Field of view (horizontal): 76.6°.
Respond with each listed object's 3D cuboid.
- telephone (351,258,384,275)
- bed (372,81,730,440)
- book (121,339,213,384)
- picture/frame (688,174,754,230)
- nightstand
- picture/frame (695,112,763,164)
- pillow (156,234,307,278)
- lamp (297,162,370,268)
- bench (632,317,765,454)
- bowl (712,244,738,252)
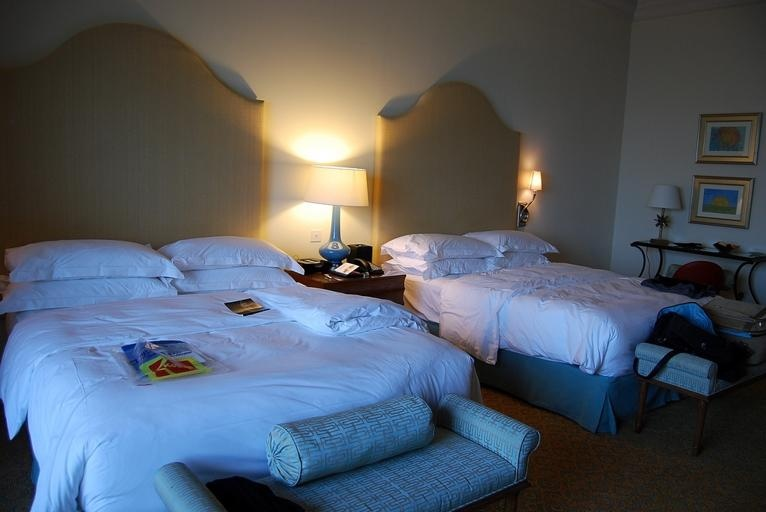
[{"bbox_3d":[-0.131,0.111,4.397,0.228,0.067,0.165,2,12,-42],"label":"telephone"},{"bbox_3d":[1.043,-0.603,4.584,1.921,1.970,2.142,-1,12,-12],"label":"bed"},{"bbox_3d":[-1.126,0.533,2.553,0.353,0.119,0.447,-4,8,-35],"label":"book"},{"bbox_3d":[4.240,-0.673,6.051,0.054,0.627,0.688,-3,13,-43],"label":"picture/frame"},{"bbox_3d":[-0.253,0.194,4.547,0.809,0.426,0.721,-2,11,-20],"label":"nightstand"},{"bbox_3d":[4.274,-1.453,5.968,0.698,0.632,0.054,14,15,42],"label":"picture/frame"},{"bbox_3d":[-1.410,-0.052,4.147,1.036,0.221,0.976,1,8,-44],"label":"pillow"},{"bbox_3d":[-0.437,-0.348,4.567,0.693,0.829,0.633,4,1,9],"label":"lamp"},{"bbox_3d":[2.280,0.890,3.534,0.772,0.901,0.558,-5,9,-37],"label":"bench"},{"bbox_3d":[4.197,-0.095,5.932,0.163,0.055,0.153,3,-1,0],"label":"bowl"}]
